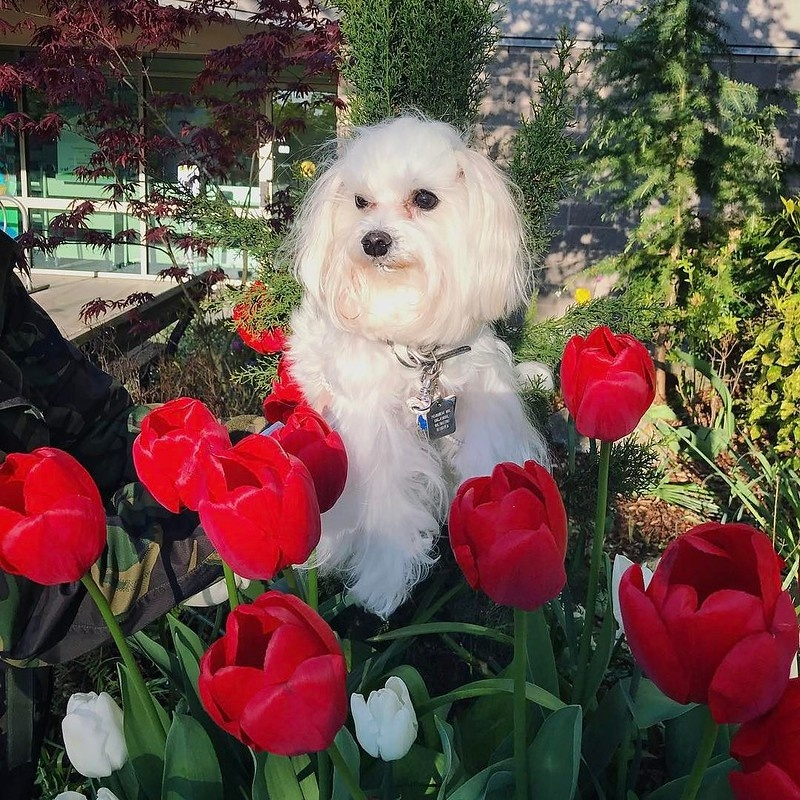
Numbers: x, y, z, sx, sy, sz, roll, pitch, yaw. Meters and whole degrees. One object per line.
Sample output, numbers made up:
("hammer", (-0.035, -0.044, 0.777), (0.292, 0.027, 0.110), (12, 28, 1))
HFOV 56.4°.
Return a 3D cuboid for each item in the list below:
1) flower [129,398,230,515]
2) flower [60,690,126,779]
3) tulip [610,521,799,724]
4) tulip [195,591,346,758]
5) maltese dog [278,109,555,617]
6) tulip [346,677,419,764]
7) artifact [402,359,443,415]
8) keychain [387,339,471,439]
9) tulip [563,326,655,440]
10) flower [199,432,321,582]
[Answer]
("flower", (-0.233, 0.082, 0.787), (0.099, 0.136, 0.078), (-4, -12, -4))
("flower", (-0.337, 0.367, 0.821), (0.064, 0.109, 0.043), (-4, 13, -27))
("tulip", (0.245, 0.169, 0.665), (0.124, 0.193, 0.157), (-1, -32, 11))
("tulip", (-0.105, 0.228, 0.612), (0.103, 0.142, 0.084), (10, 14, 34))
("maltese dog", (0.030, -0.107, 1.759), (0.582, 1.256, 0.446), (-2, -5, 12))
("tulip", (-0.023, 0.348, 0.805), (0.043, 0.084, 0.054), (-9, 10, -6))
("artifact", (0.054, -0.019, 1.678), (0.076, 0.122, 0.126), (3, 12, 3))
("keychain", (0.065, -0.014, 1.709), (0.165, 0.205, 0.068), (2, -8, -4))
("tulip", (0.247, -0.014, 0.893), (0.090, 0.133, 0.090), (-4, 13, -28))
("flower", (-0.140, 0.114, 0.732), (0.111, 0.174, 0.104), (-4, 13, -27))
